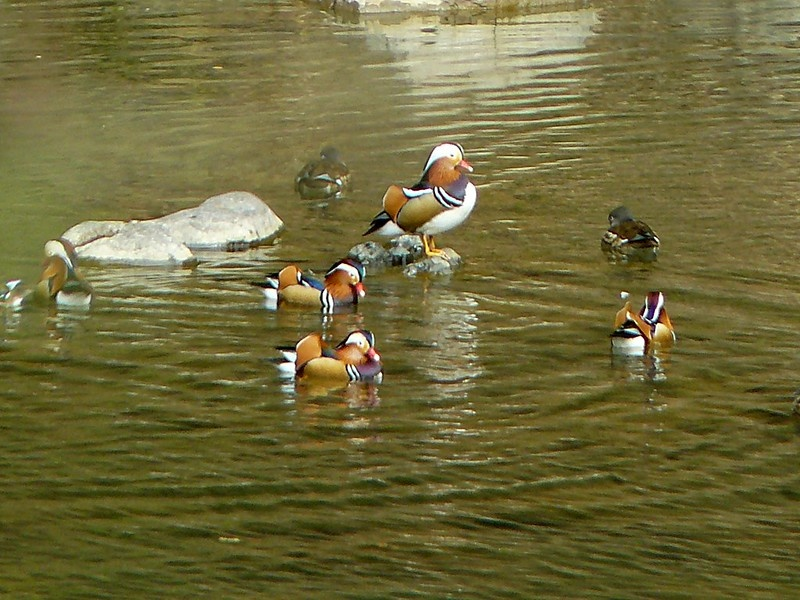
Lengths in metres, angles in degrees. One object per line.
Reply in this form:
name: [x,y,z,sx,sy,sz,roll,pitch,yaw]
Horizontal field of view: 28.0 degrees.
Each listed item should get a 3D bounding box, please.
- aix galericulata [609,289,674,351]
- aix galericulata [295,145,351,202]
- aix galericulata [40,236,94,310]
aix galericulata: [3.169,0.323,21.201,0.676,0.770,0.832,13,27,36]
aix galericulata: [-1.181,-2.059,26.273,0.942,0.529,1.051,8,27,17]
aix galericulata: [-4.728,-0.362,22.536,0.638,0.884,0.877,-14,24,-20]
